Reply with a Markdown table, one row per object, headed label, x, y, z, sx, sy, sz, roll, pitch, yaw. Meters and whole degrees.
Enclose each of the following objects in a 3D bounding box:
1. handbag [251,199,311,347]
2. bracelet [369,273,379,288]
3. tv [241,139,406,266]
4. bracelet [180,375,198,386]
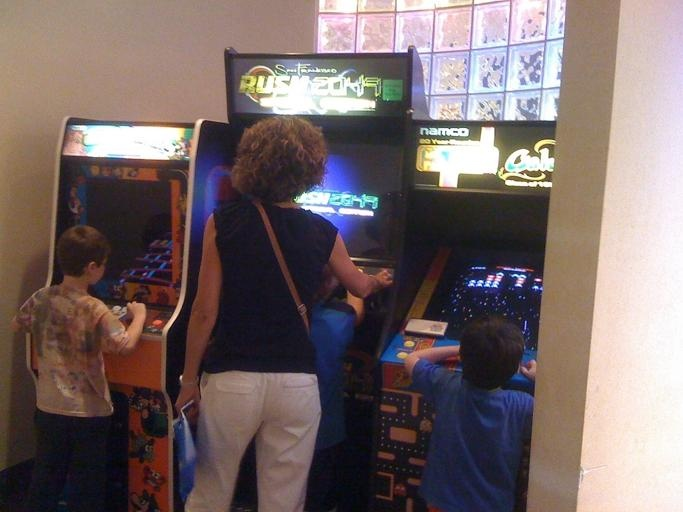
| label | x | y | z | sx | sy | sz | roll | pitch | yaw |
| --- | --- | --- | --- | --- | --- | --- | --- | --- | --- |
| handbag | -0.190 | 0.037 | 1.813 | 0.195 | 0.397 | 0.089 | 4 | 8 | -9 |
| bracelet | 0.112 | 0.093 | 2.071 | 0.033 | 0.033 | 0.034 | 3 | 0 | -30 |
| tv | -0.065 | -0.240 | 2.674 | 0.812 | 0.805 | 0.430 | 3 | 1 | 22 |
| bracelet | -0.526 | 0.430 | 1.987 | 0.048 | 0.020 | 0.042 | 5 | -7 | 5 |
